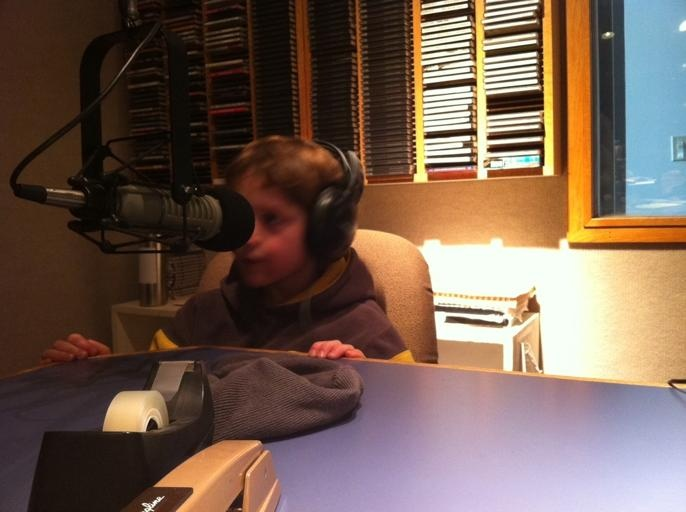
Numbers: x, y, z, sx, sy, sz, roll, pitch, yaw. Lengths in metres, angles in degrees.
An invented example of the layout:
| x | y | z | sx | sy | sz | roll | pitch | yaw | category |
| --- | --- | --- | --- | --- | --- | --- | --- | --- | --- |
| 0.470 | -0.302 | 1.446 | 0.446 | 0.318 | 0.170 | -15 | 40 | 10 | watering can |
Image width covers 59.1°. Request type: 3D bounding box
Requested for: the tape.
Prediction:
| x | y | z | sx | sy | sz | roll | pitch | yaw | category |
| --- | --- | --- | --- | --- | --- | --- | --- | --- | --- |
| -0.274 | 0.202 | 0.834 | 0.089 | 0.084 | 0.144 | 2 | 9 | 7 | tape |

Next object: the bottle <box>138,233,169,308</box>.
| x | y | z | sx | sy | sz | roll | pitch | yaw | category |
| --- | --- | --- | --- | --- | --- | --- | --- | --- | --- |
| -0.918 | 0.077 | 2.920 | 0.134 | 0.318 | 0.134 | -1 | 0 | 0 | bottle |

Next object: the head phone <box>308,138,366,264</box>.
| x | y | z | sx | sy | sz | roll | pitch | yaw | category |
| --- | --- | --- | --- | --- | --- | --- | --- | --- | --- |
| -0.007 | -0.187 | 1.913 | 0.143 | 0.350 | 0.182 | 6 | 11 | 10 | head phone |
